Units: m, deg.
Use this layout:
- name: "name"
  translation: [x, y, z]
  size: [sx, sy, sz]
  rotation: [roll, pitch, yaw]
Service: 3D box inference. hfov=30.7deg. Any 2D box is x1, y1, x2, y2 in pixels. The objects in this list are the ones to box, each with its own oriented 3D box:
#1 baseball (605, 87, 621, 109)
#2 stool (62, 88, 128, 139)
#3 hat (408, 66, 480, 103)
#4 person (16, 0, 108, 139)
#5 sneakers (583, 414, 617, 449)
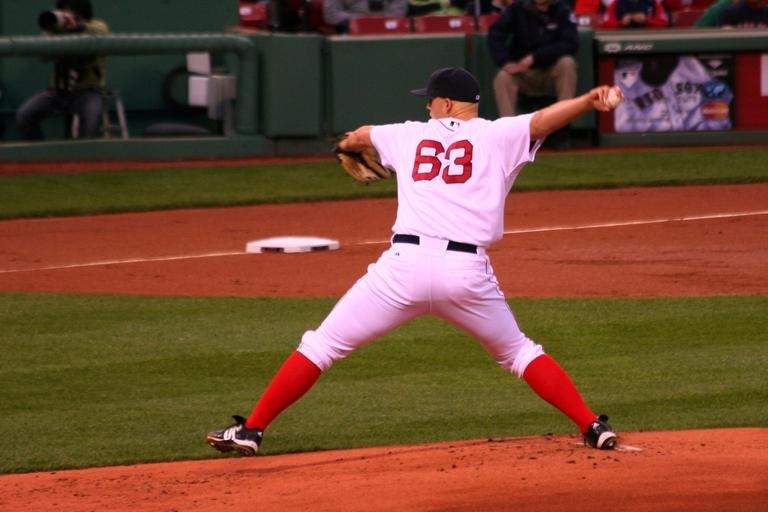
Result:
- name: "baseball"
  translation: [1.793, -1.243, 11.003]
  size: [0.136, 0.160, 0.150]
  rotation: [10, 54, 12]
- name: "stool"
  translation: [-3.995, -1.885, 18.715]
  size: [0.804, 0.977, 0.814]
  rotation: [-1, 4, -12]
- name: "hat"
  translation: [0.466, -1.393, 11.454]
  size: [0.630, 0.272, 0.417]
  rotation: [-2, -1, 10]
- name: "person"
  translation: [-4.194, -2.452, 18.261]
  size: [1.091, 1.804, 0.925]
  rotation: [-1, 12, -7]
- name: "sneakers"
  translation: [1.750, 1.411, 11.387]
  size: [0.255, 0.188, 0.411]
  rotation: [-7, 19, -16]
